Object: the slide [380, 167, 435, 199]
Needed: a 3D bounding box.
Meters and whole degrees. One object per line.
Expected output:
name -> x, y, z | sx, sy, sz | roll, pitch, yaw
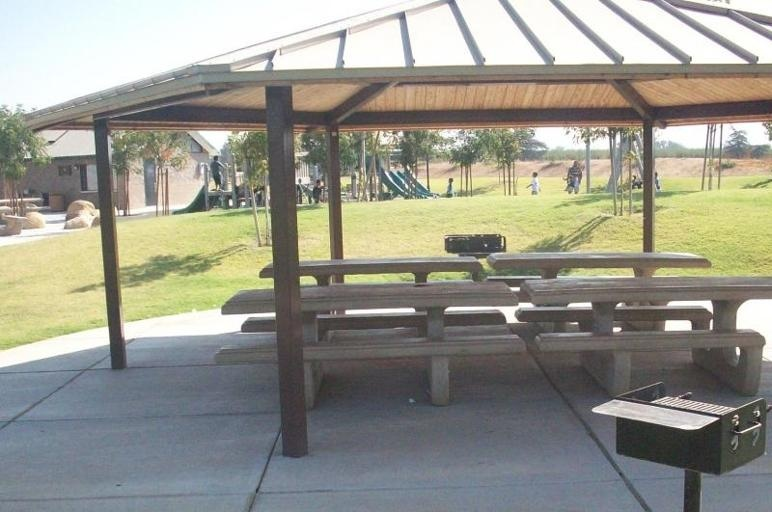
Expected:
slide -> 0.981, -3.910, 39.044 | 2.782, 1.163, 2.038 | 12, 14, 21
